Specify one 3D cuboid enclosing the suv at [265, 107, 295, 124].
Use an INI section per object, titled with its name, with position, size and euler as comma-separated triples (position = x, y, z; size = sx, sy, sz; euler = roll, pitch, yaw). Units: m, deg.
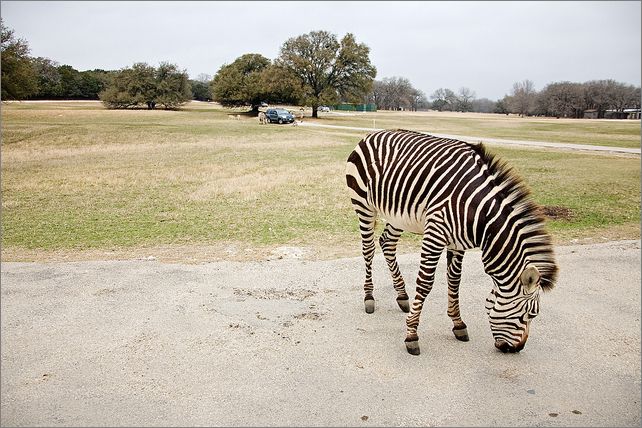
[suv]
position = -3.573, -8.592, 48.016
size = 1.477, 1.137, 2.577
euler = -15, 21, -39
